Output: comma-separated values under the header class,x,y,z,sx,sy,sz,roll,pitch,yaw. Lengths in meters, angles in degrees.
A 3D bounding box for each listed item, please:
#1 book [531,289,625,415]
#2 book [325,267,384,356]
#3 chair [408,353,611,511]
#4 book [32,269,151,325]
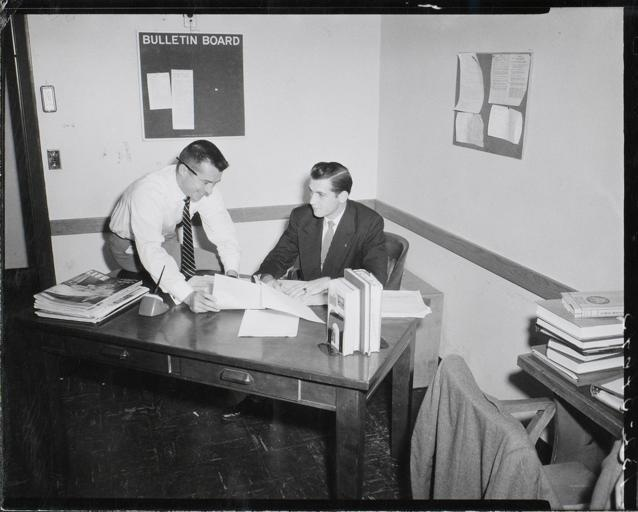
class,x,y,z,sx,sy,sz,roll,pitch,yaw
book,0.800,0.238,1.601,0.356,0.186,0.253,-12,19,-36
book,0.112,0.161,1.600,0.166,0.244,0.133,0,14,-4
chair,0.563,0.518,1.559,0.358,0.448,0.332,-22,27,-26
book,-0.770,0.141,1.829,0.268,0.092,0.283,7,15,22
